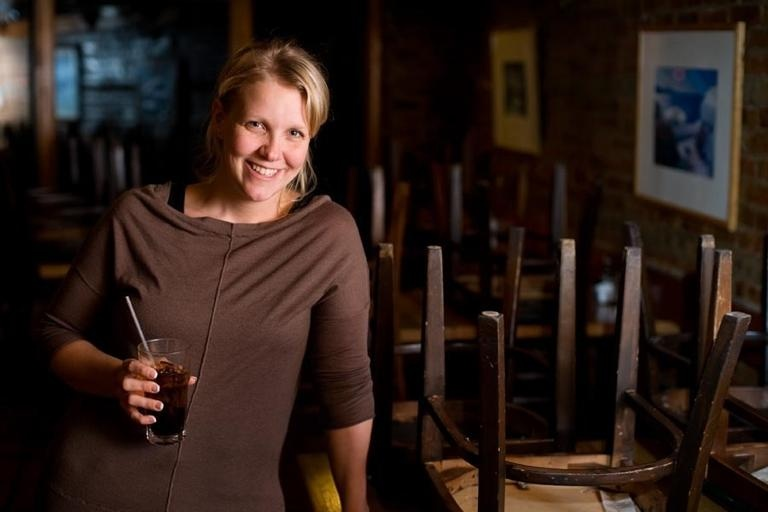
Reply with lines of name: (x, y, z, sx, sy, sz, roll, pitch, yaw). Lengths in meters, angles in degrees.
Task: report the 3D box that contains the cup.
cup: (-0.543, 0.332, 1.731, 0.120, 0.259, 0.071, 0, 8, -11)
